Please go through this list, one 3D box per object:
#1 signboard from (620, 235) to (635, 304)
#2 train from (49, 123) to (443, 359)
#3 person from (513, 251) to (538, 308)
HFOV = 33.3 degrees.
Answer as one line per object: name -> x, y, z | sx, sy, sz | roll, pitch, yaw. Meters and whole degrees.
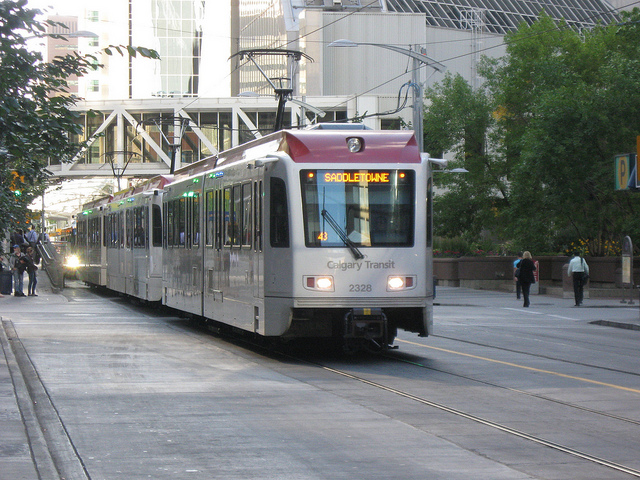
signboard -> 9.732, 0.952, 34.010 | 0.559, 1.714, 3.075 | -7, 1, 15
train -> -1.851, 0.336, 25.566 | 3.520, 3.425, 17.223 | 0, -2, -19
person -> 6.419, 1.188, 33.200 | 0.639, 1.431, 2.179 | -7, 1, 11
